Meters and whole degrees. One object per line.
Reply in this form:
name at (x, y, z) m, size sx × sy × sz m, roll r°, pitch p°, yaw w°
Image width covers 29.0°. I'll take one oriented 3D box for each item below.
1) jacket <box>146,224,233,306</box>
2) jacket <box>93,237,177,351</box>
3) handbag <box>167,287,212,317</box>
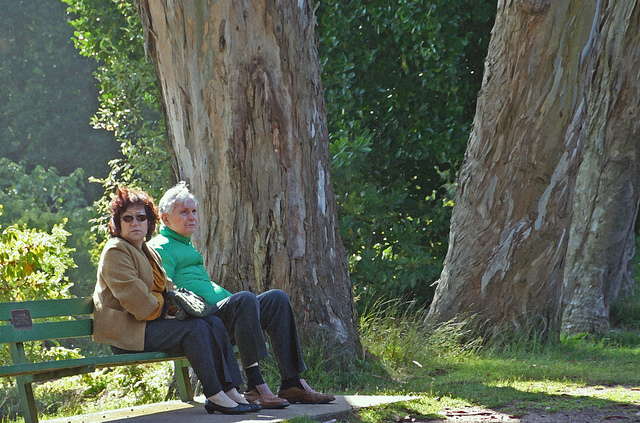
jacket at (-2.011, 0.874, 19.576) m, size 1.088 × 1.269 × 1.238 m, roll 0°, pitch -3°, yaw 5°
jacket at (-2.781, 1.261, 18.969) m, size 1.115 × 1.756 × 1.252 m, roll -2°, pitch -3°, yaw 19°
handbag at (-1.962, 1.374, 18.607) m, size 0.432 × 0.210 × 0.458 m, roll 26°, pitch 8°, yaw -22°
